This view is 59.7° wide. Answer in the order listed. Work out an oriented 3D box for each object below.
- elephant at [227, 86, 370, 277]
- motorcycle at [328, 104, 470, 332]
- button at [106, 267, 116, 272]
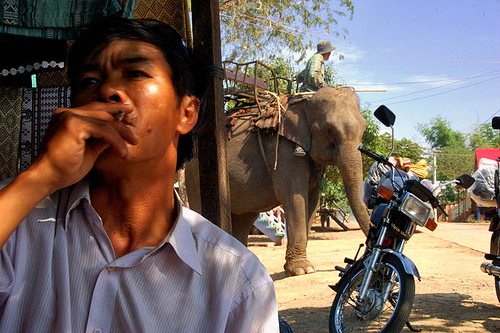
[{"bbox_3d":[0.671,0.381,7.527,3.507,2.991,1.697,-9,-12,36],"label":"elephant"},{"bbox_3d":[1.411,0.595,4.411,1.071,2.437,1.719,3,3,13],"label":"motorcycle"},{"bbox_3d":[-0.620,0.458,1.949,0.038,0.021,0.005,2,3,-16],"label":"button"}]
